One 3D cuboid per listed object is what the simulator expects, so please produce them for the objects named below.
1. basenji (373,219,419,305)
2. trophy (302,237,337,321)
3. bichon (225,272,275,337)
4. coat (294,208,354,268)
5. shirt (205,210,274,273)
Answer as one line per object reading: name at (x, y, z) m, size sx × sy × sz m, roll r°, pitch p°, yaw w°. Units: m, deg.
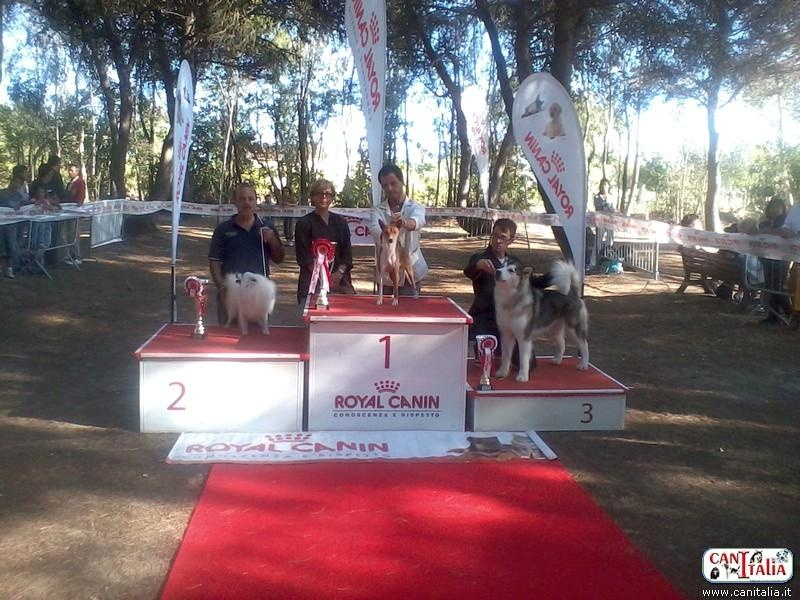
basenji at (-0.060, -0.383, 6.034) m, size 0.305 × 0.873 × 0.372 m, roll 2°, pitch 11°, yaw 14°
trophy at (-0.747, -0.227, 6.197) m, size 0.304 × 0.793 × 0.316 m, roll -6°, pitch 18°, yaw -31°
bichon at (-1.504, 0.022, 6.386) m, size 0.552 × 0.682 × 0.482 m, roll 3°, pitch 13°, yaw 6°
coat at (-0.806, -0.687, 6.774) m, size 0.453 × 0.740 × 0.436 m, roll -4°, pitch 11°, yaw -33°
shirt at (-1.681, -0.600, 6.767) m, size 0.438 × 0.729 × 0.527 m, roll 7°, pitch 10°, yaw 37°
